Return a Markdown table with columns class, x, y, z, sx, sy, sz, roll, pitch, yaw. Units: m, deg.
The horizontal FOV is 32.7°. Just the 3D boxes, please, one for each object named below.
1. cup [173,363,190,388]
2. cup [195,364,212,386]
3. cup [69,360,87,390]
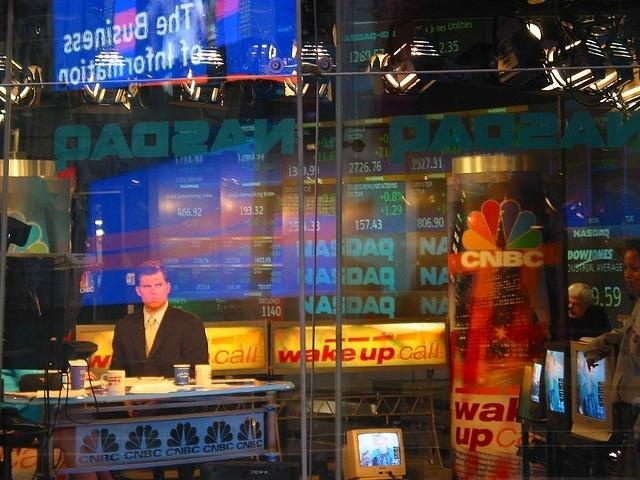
| class | x | y | z | sx | sy | sz | roll | pitch | yaw |
| --- | --- | --- | --- | --- | --- | --- | --- | --- | --- |
| cup | -0.922 | 0.894 | 7.359 | 0.123 | 0.114 | 0.121 | -1 | -8 | 0 |
| cup | -0.784 | 0.899 | 7.290 | 0.128 | 0.137 | 0.126 | -1 | -9 | 0 |
| cup | -1.655 | 0.911 | 7.358 | 0.156 | 0.185 | 0.161 | -7 | -12 | -2 |
